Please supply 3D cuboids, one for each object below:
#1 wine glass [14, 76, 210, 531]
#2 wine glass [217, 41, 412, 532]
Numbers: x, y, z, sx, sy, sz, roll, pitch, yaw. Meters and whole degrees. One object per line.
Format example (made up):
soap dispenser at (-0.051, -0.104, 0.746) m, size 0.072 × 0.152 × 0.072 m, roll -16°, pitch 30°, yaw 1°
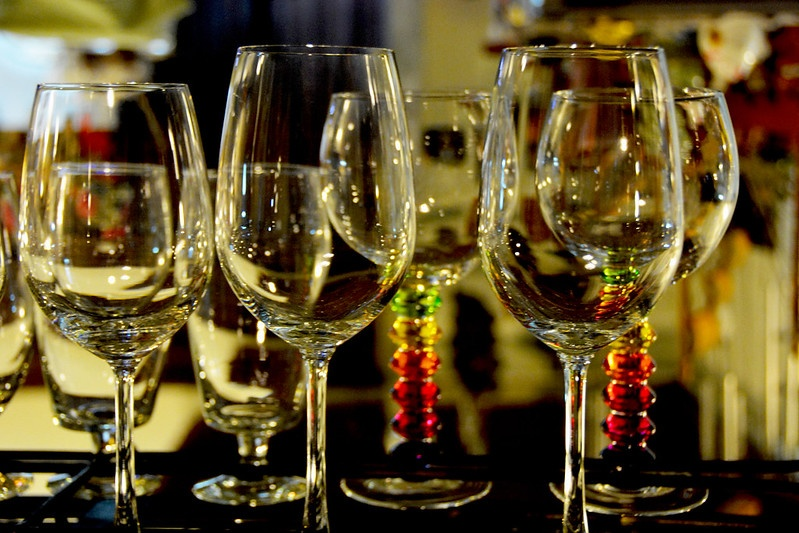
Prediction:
wine glass at (-0.173, 0.024, 0.554) m, size 0.116 × 0.269 × 0.059 m, roll -1°, pitch 9°, yaw -12°
wine glass at (-0.051, 0.013, 0.548) m, size 0.119 × 0.289 × 0.060 m, roll -1°, pitch 9°, yaw -11°
